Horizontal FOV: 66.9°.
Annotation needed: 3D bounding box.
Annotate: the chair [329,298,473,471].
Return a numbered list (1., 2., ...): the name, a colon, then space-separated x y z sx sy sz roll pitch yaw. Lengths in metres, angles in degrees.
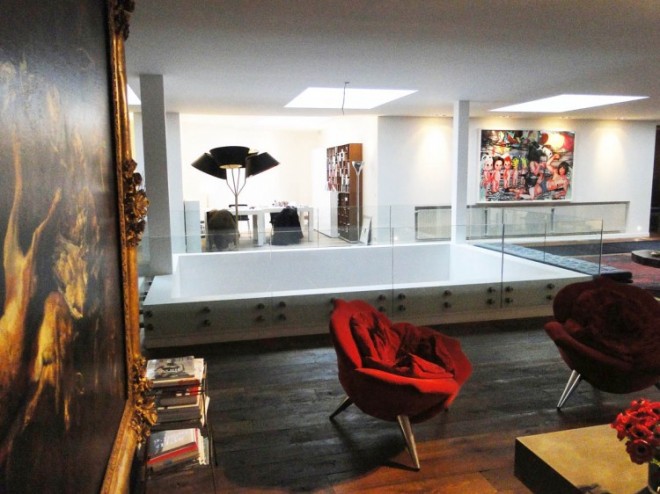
1. chair: 0.392 0.704 3.073 0.873 0.718 1.151 3 4 5
